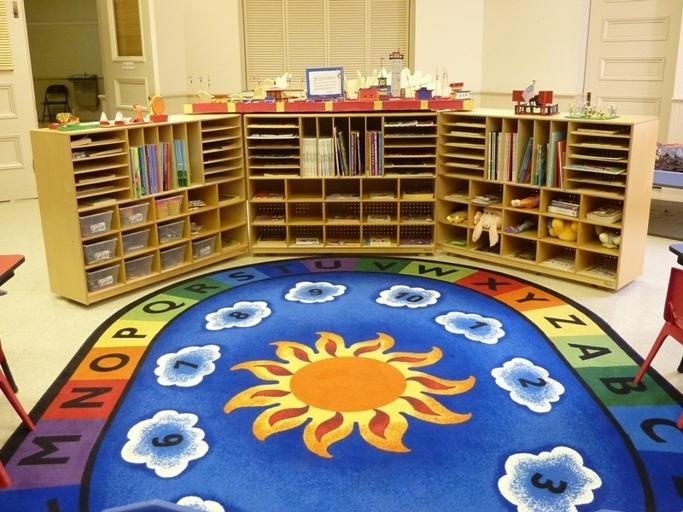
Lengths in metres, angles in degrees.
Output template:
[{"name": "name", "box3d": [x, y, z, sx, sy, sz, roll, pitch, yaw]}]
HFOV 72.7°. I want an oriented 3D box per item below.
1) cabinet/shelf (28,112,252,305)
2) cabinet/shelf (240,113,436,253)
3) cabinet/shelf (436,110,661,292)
[{"name": "cabinet/shelf", "box3d": [-2.004, -0.619, 4.817, 0.671, 1.530, 2.270, 13, 21, 19]}, {"name": "cabinet/shelf", "box3d": [-0.033, -0.885, 5.318, 2.077, 1.166, 0.465, 0, 17, 1]}, {"name": "cabinet/shelf", "box3d": [2.027, -0.687, 4.899, 0.660, 1.428, 2.156, -14, 22, -39]}]
